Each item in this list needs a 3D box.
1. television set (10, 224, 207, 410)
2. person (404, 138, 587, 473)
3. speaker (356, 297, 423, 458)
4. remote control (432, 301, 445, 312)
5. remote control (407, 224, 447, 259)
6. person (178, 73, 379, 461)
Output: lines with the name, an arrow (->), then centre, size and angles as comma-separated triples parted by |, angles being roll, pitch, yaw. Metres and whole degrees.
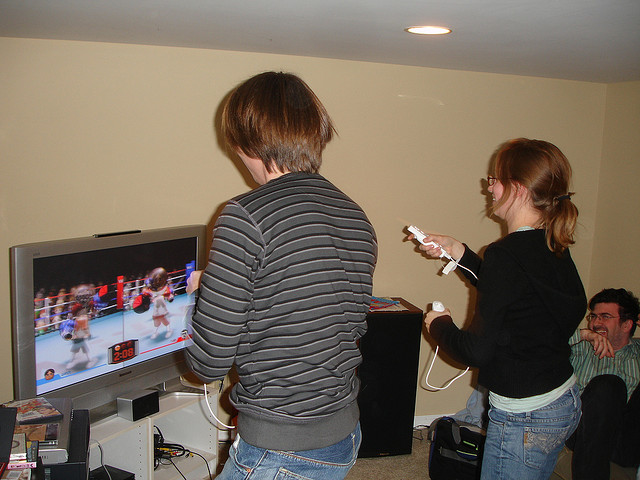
television set -> -0.984, 0.369, 2.446 | 0.108, 0.701, 1.015 | 1, 3, 34
person -> 0.759, 0.248, 2.133 | 0.579, 1.350, 0.333 | -2, 2, 21
speaker -> 0.431, 0.891, 3.229 | 0.411, 0.938, 0.163 | -3, 2, -13
remote control -> 0.553, 0.306, 2.457 | 0.063, 0.055, 0.101 | 9, -5, 7
remote control -> 0.627, 0.008, 3.103 | 0.318, 0.113, 0.079 | 29, -10, 5
person -> -0.109, 0.090, 1.594 | 0.601, 1.221, 0.242 | -3, 2, -15
